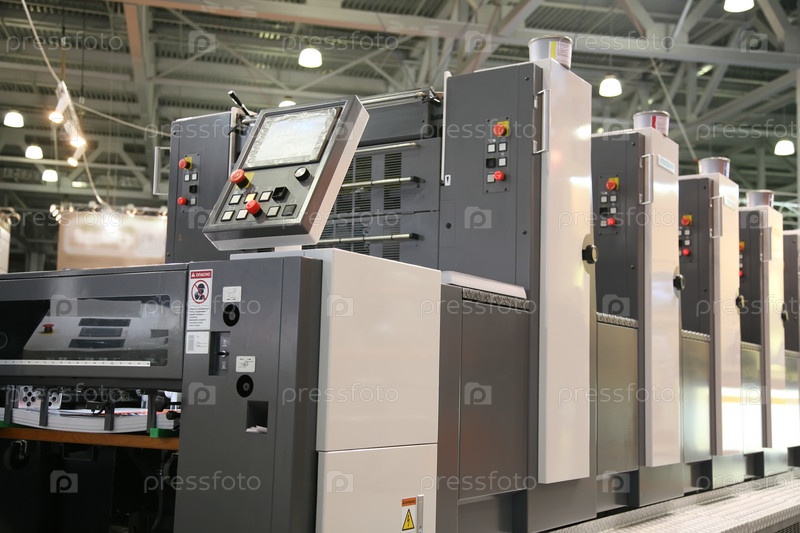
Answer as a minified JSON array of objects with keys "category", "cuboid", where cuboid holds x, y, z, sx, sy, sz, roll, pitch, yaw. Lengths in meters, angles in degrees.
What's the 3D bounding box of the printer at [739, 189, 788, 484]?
[{"category":"printer","cuboid":[4.235,0.693,8.928,0.437,3.323,1.128,-4,-6,31]}]
